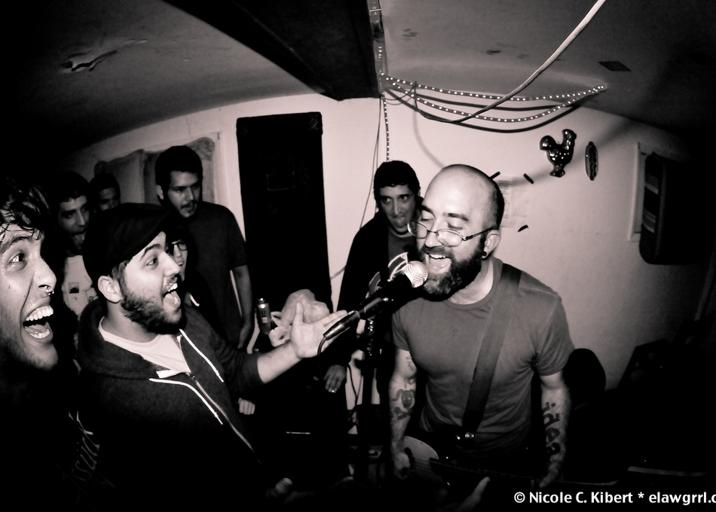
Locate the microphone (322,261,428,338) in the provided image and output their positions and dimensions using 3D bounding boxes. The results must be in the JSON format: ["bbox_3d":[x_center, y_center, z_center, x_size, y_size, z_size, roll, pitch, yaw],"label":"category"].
[{"bbox_3d":[0.129,0.272,3.545,0.750,0.195,0.191,-32,59,-17],"label":"microphone"}]

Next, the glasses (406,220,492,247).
[{"bbox_3d":[0.547,-0.122,3.268,0.445,0.123,0.153,6,13,11],"label":"glasses"}]

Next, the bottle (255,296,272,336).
[{"bbox_3d":[-0.679,0.448,4.282,0.140,0.282,0.104,18,29,38],"label":"bottle"}]
